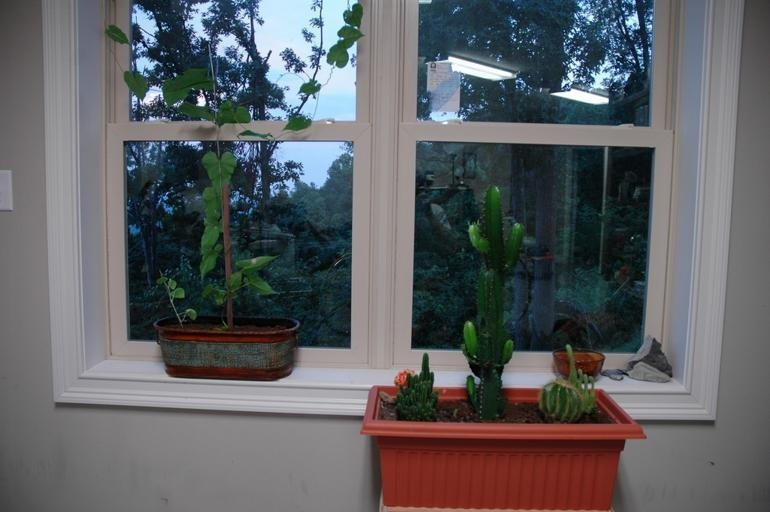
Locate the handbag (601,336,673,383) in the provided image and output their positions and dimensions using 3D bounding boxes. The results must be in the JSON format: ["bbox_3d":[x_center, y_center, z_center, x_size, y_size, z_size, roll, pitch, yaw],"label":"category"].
[{"bbox_3d":[0.961,0.397,2.338,0.203,0.081,0.167,15,42,38],"label":"handbag"}]
